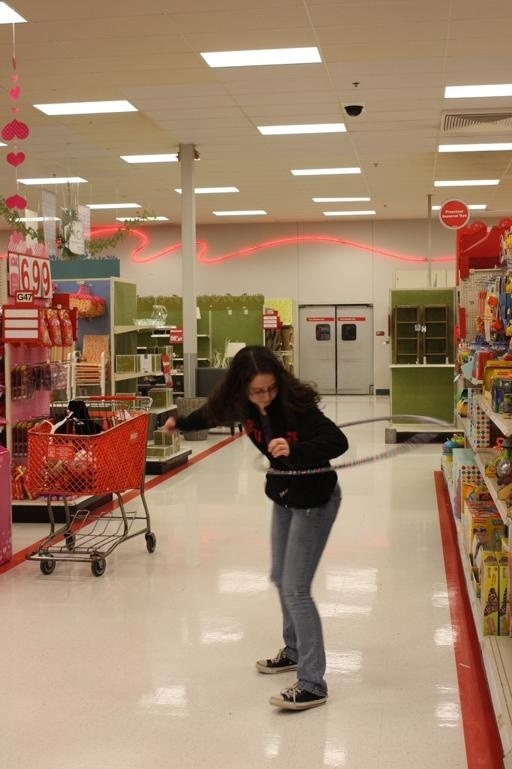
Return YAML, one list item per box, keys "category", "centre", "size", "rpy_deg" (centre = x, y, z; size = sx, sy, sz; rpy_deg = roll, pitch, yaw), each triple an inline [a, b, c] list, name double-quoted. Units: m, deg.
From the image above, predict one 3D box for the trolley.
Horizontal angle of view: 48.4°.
- category: "trolley"
  centre: [-1.133, 0.642, 4.059]
  size: [0.639, 1.196, 1.142]
  rpy_deg: [-1, -5, 3]

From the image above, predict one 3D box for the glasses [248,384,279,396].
- category: "glasses"
  centre: [0.027, 0.012, 1.729]
  size: [0.091, 0.040, 0.066]
  rpy_deg: [0, -2, -11]

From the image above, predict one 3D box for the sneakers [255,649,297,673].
- category: "sneakers"
  centre: [0.085, 1.113, 2.341]
  size: [0.200, 0.097, 0.070]
  rpy_deg: [1, 3, -4]

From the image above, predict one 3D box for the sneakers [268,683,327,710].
- category: "sneakers"
  centre: [0.143, 1.038, 1.954]
  size: [0.192, 0.081, 0.077]
  rpy_deg: [3, 1, -8]
